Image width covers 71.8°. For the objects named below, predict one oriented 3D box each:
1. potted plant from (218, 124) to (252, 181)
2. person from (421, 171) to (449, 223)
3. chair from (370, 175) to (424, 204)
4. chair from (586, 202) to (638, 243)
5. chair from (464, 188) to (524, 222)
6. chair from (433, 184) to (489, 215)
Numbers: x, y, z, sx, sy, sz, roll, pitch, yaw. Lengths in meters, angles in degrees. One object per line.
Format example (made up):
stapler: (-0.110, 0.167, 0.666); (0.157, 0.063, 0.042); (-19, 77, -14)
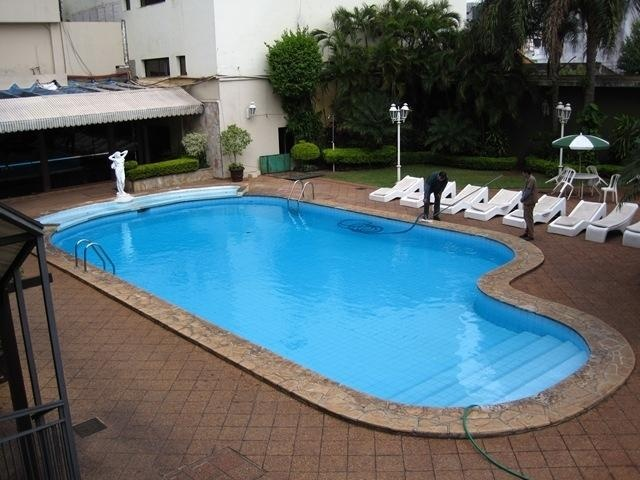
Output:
potted plant: (-4.081, -4.212, 21.356); (1.363, 2.608, 1.650); (-7, 19, -11)
person: (3.652, -1.445, 14.210); (0.705, 1.659, 0.993); (1, 19, 12)
chair: (2.996, -1.951, 17.238); (1.958, 0.770, 0.981); (-17, 19, -29)
chair: (8.049, -0.455, 12.294); (0.973, 0.448, 0.957); (-30, 30, -26)
chair: (5.824, -1.160, 14.721); (1.836, 0.746, 0.968); (-17, 18, -28)
chair: (5.020, -1.409, 15.339); (1.786, 0.717, 0.958); (-20, 22, -28)
